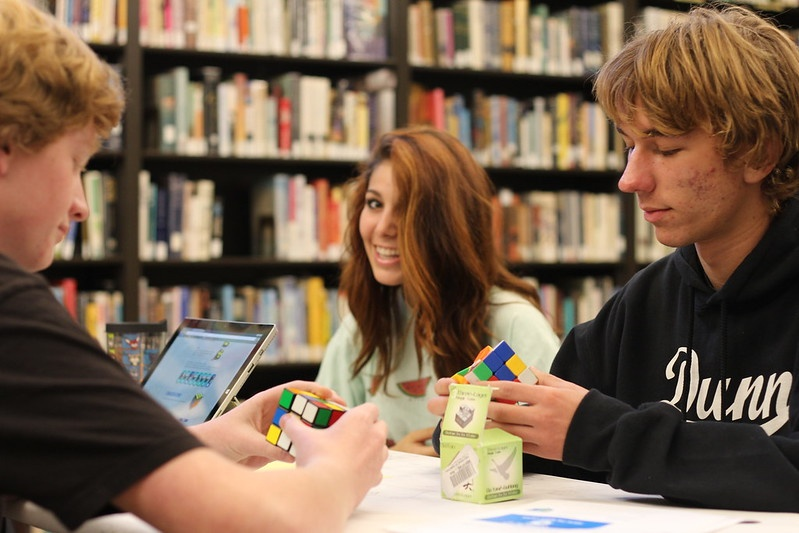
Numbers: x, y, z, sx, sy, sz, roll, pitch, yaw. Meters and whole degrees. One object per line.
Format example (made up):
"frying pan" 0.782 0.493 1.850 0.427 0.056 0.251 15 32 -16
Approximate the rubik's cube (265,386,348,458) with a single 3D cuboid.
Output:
"rubik's cube" -0.189 0.335 2.105 0.156 0.117 0.156 20 -2 4

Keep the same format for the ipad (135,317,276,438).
"ipad" -0.455 0.234 2.363 0.184 0.245 0.298 28 17 -29

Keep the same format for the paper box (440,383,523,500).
"paper box" 0.165 0.367 2.112 0.155 0.233 0.143 -4 -3 35
